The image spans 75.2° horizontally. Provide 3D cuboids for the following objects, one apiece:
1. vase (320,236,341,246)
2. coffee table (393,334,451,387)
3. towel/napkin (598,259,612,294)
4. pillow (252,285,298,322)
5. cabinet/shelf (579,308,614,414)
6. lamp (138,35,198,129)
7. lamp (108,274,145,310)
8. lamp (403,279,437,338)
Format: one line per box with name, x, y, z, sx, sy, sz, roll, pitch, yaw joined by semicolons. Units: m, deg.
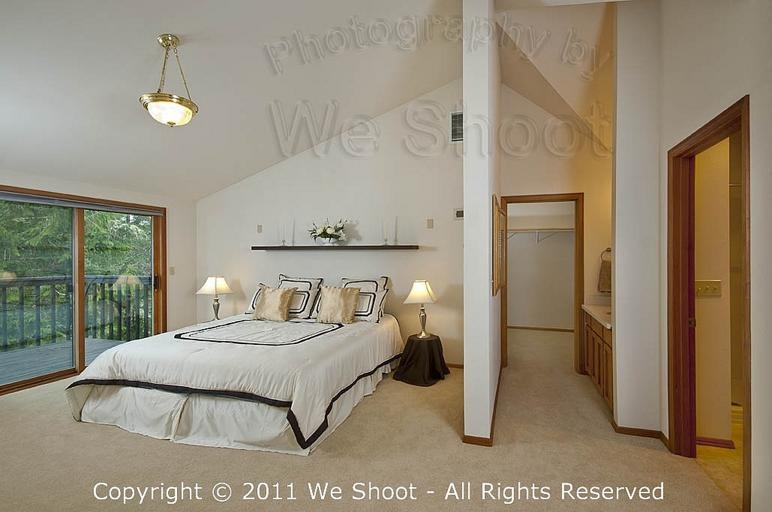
vase;-0.783;-0.191;6.978;0.320;0.116;0.228;1;-2;2
coffee table;0.408;1.272;6.180;0.546;0.387;0.575;3;-2;6
towel/napkin;2.734;0.243;6.245;0.034;0.354;0.180;-8;9;-26
pillow;-1.455;0.639;6.499;0.576;0.380;0.166;1;-18;41
cabinet/shelf;2.339;1.196;5.539;0.290;0.564;1.064;0;1;15
lamp;-2.148;-1.682;4.984;0.474;0.722;0.887;1;-1;-22
lamp;-3.566;0.466;6.870;0.379;0.094;0.364;-1;35;-46
lamp;0.439;0.678;6.444;0.353;0.709;0.547;1;-1;6
